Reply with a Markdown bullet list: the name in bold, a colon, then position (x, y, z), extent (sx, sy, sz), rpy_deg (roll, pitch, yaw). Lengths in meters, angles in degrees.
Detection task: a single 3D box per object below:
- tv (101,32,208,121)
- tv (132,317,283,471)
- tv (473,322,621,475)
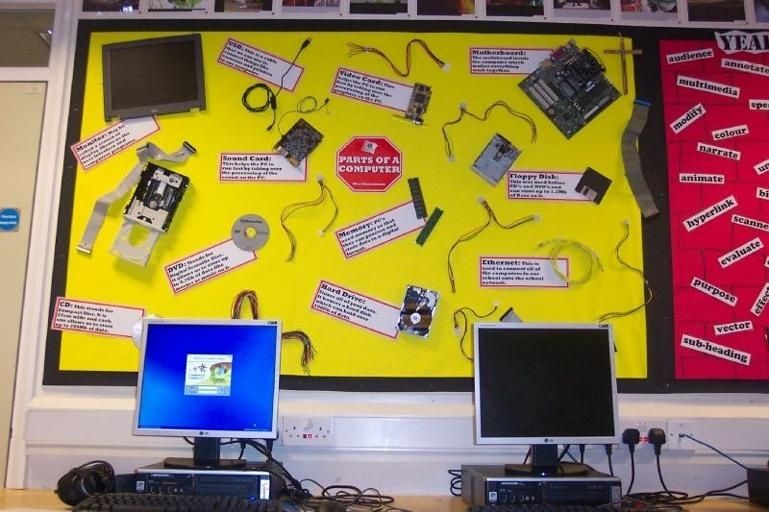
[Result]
- **tv**: position (-1.318, -1.022, 4.057), extent (0.593, 0.499, 0.021), rpy_deg (2, -5, 1)
- **tv**: position (-0.903, 0.617, 3.620), extent (0.718, 0.591, 0.077), rpy_deg (1, -5, 3)
- **tv**: position (0.823, 0.652, 3.648), extent (0.740, 0.616, 0.094), rpy_deg (2, -5, -7)
